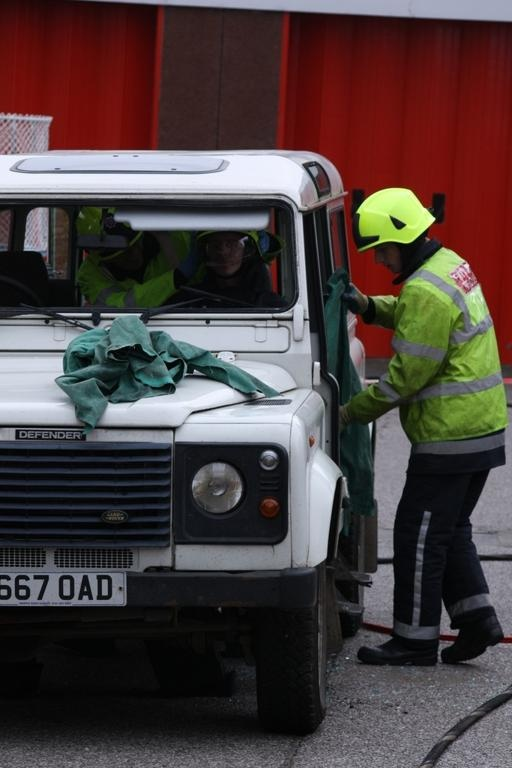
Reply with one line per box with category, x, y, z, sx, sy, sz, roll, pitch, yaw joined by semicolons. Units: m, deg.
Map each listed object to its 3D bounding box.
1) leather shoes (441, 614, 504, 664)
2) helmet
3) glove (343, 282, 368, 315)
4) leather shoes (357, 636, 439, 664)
leather shoes;0.901;1.111;4.416;0.127;0.163;0.382;-30;0;-44
helmet;0.560;-0.703;4.325;0.345;0.208;0.253;-10;10;-26
glove;0.437;-0.385;4.550;0.069;0.070;0.250;-3;-18;16
leather shoes;0.600;1.132;4.371;0.366;0.144;0.127;5;-7;-1
